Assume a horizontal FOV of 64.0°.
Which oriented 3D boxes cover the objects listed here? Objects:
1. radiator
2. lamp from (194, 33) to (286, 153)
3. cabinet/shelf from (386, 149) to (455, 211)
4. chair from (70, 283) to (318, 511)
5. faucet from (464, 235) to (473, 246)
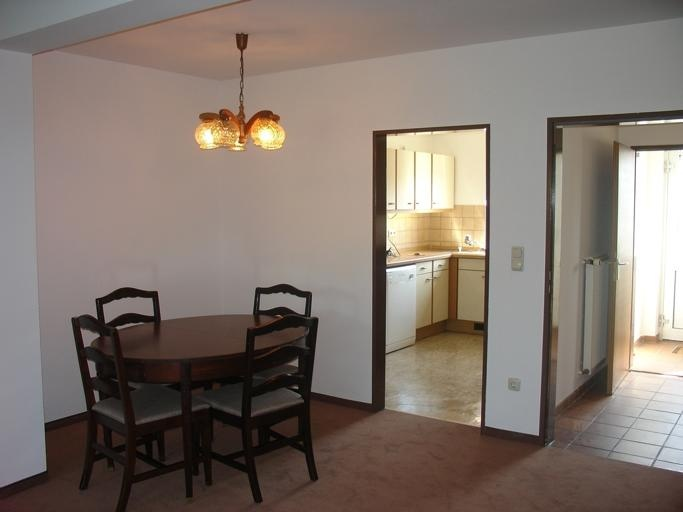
[{"bbox_3d":[2.248,0.554,4.826,0.150,1.110,1.042,0,0,30],"label":"radiator"},{"bbox_3d":[-0.758,-1.199,3.994,0.604,0.746,0.642,-8,17,-38],"label":"lamp"},{"bbox_3d":[1.020,-0.991,7.205,0.340,0.650,1.100,1,5,37],"label":"cabinet/shelf"},{"bbox_3d":[-1.008,0.949,3.844,1.607,1.242,1.018,-3,9,-19],"label":"chair"},{"bbox_3d":[1.866,-0.234,7.984,0.132,0.189,0.128,3,-4,-40],"label":"faucet"}]
